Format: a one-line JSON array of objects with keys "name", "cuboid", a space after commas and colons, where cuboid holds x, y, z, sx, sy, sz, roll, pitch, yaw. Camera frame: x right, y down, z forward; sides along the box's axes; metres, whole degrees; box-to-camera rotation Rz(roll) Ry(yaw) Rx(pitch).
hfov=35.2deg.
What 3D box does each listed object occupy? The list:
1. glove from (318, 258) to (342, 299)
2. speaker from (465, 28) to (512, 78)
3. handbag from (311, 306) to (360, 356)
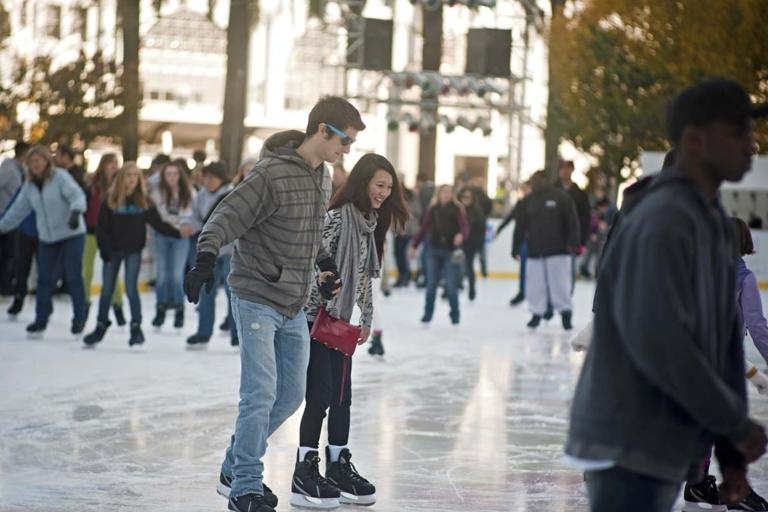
[{"name": "glove", "cuboid": [-0.444, 0.182, 9.956, 0.176, 0.329, 0.137, -12, 1, 6]}, {"name": "speaker", "cuboid": [1.981, -3.836, 22.871, 0.842, 0.762, 0.613, 3, 1, 2]}, {"name": "handbag", "cuboid": [-0.420, 0.619, 9.978, 0.292, 0.246, 0.076, 27, -28, -12]}]
